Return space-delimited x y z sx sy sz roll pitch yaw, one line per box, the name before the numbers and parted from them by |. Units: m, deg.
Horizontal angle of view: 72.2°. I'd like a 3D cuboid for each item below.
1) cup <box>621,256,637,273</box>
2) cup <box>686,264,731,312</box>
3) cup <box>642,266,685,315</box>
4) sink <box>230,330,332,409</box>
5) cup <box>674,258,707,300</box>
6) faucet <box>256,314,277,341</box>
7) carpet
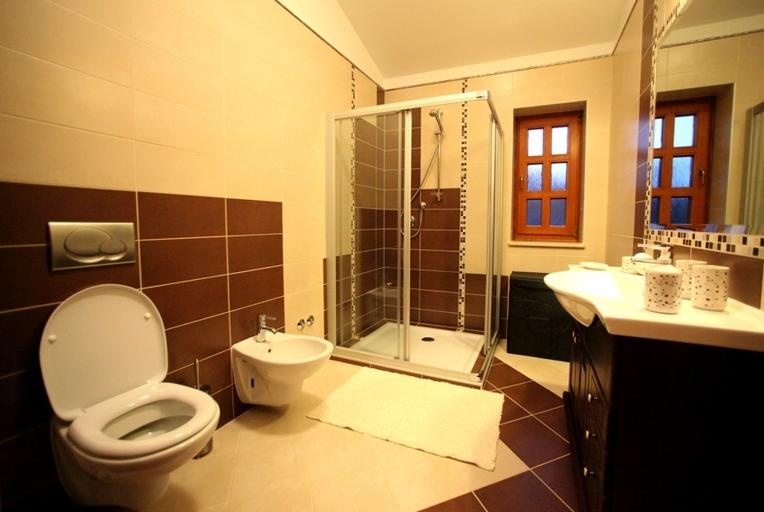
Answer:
cup | 1.528 0.054 3.243 0.081 0.098 0.084 -2 10 0
cup | 1.579 0.154 2.499 0.191 0.209 0.118 1 7 10
cup | 1.331 0.163 2.460 0.170 0.209 0.117 2 7 16
sink | -0.628 0.769 3.368 0.618 0.479 0.393 4 7 29
cup | 1.528 0.096 2.636 0.199 0.244 0.204 -1 4 0
faucet | -0.772 0.479 3.472 0.204 0.211 0.087 1 2 35
carpet | 0.212 1.045 3.502 1.173 0.261 0.704 2 6 20
